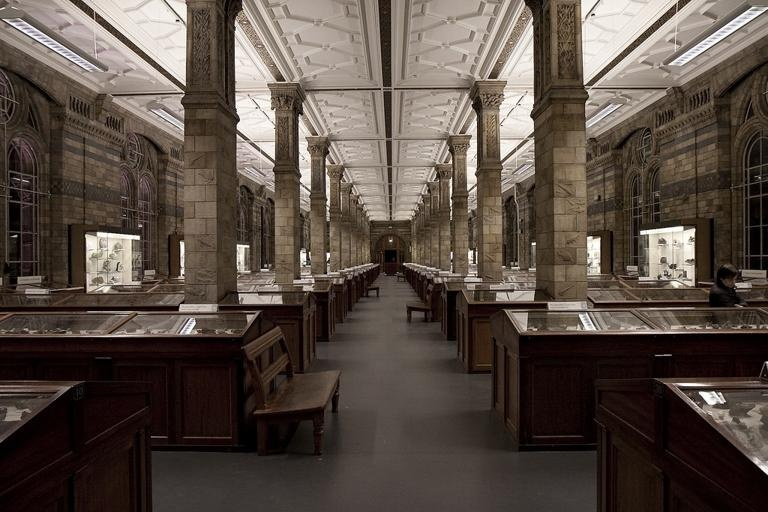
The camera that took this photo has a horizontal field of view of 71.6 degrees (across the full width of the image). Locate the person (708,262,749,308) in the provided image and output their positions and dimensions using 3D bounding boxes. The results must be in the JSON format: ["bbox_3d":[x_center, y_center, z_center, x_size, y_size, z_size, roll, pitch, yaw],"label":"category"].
[{"bbox_3d":[5.672,0.538,8.861,0.588,0.797,0.495,-8,9,-42],"label":"person"}]
